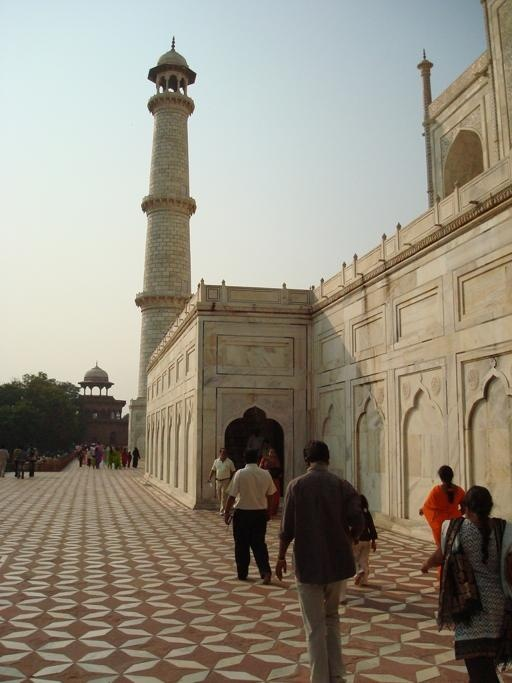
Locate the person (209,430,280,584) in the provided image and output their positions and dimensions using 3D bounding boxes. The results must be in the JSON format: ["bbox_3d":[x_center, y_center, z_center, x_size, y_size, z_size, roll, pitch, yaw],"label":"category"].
[{"bbox_3d":[-0.057,1.717,6.269,0.465,1.268,0.438,-1,-11,-1],"label":"person"}]

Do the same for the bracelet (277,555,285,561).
[{"bbox_3d":[0.144,1.276,3.757,0.042,0.029,0.033,-5,-6,43],"label":"bracelet"}]
